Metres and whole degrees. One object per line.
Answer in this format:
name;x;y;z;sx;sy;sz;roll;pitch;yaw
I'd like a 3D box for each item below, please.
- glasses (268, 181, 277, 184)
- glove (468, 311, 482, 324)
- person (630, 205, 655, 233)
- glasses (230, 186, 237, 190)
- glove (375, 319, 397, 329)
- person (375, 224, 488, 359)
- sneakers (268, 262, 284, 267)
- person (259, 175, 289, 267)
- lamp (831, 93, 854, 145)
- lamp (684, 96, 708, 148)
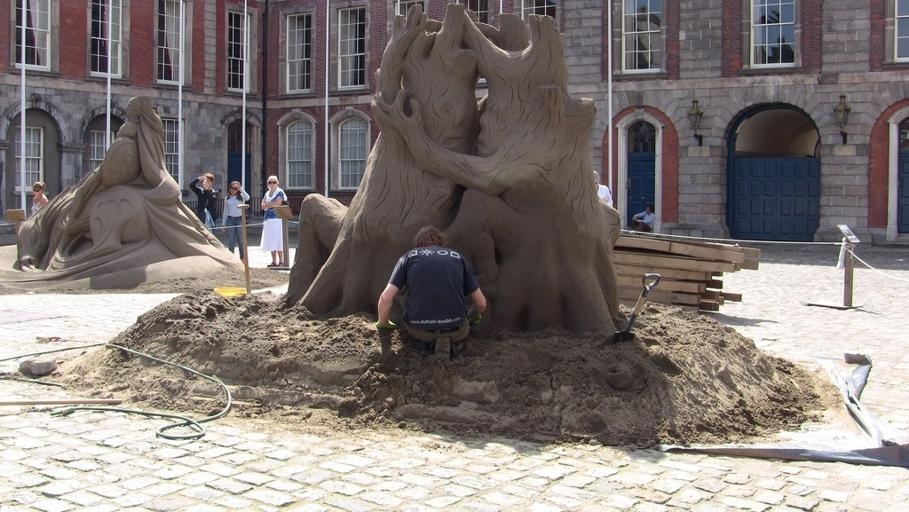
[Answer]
glasses;-4.634;-1.881;24.729;0.123;0.101;0.250;6;9;29
glove;0.306;0.932;14.933;0.219;0.218;0.139;1;0;-6
person;6.648;-1.330;33.947;0.777;0.907;1.941;3;8;11
glasses;-5.689;-1.774;24.998;0.157;0.081;0.159;-1;9;-14
glove;-1.041;1.042;14.859;0.140;0.115;0.258;-4;-9;43
person;-0.359;0.541;14.767;1.584;1.957;0.511;0;8;-6
sneakers;-4.604;0.231;25.150;0.150;0.085;0.275;-3;-6;40
person;-4.691;-0.905;24.991;0.576;2.307;1.126;0;9;-11
lamp;12.687;-4.485;31.648;0.512;1.644;0.359;4;9;20
lamp;8.362;-4.659;33.529;0.532;1.616;0.439;-4;10;-33
